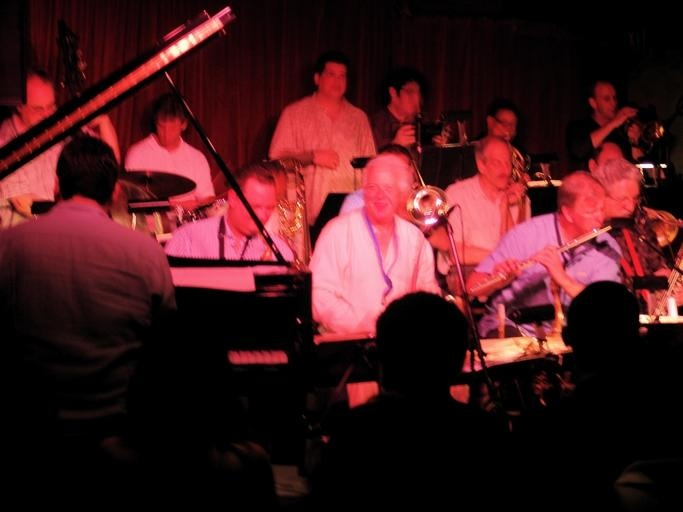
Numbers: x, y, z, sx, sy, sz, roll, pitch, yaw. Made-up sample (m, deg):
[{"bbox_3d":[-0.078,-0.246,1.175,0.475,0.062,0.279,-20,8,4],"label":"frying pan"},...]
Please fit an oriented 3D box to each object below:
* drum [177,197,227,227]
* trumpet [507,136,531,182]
[{"bbox_3d":[-1.244,-0.380,5.453,0.418,0.139,0.325,-13,5,-34],"label":"drum"},{"bbox_3d":[1.701,-0.898,5.923,0.128,0.404,0.285,-23,-12,12],"label":"trumpet"}]
